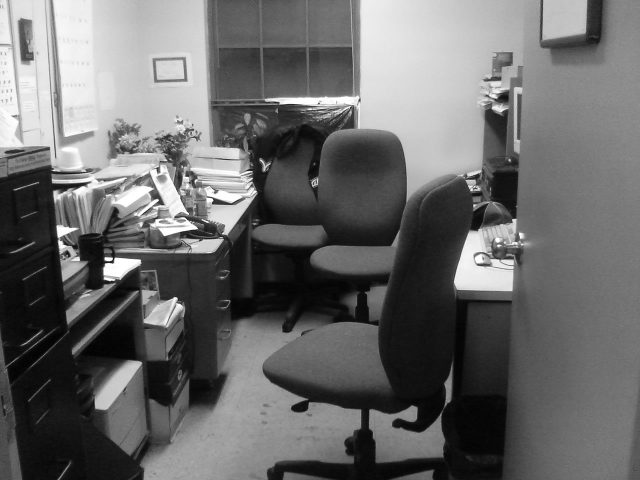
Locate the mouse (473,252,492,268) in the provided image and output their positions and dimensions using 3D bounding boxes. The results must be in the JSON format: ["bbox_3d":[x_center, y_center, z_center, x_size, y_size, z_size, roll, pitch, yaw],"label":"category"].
[{"bbox_3d":[0.556,0.061,1.767,0.042,0.053,0.056,-4,10,-30],"label":"mouse"}]

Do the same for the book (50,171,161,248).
[{"bbox_3d":[-1.031,-0.165,2.489,0.300,0.195,0.402,-5,13,8],"label":"book"}]

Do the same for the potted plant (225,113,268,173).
[{"bbox_3d":[-0.546,-0.768,3.964,0.428,0.441,0.415,-4,15,-10],"label":"potted plant"}]

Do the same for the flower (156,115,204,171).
[{"bbox_3d":[-1.038,-0.748,3.853,0.287,0.335,0.472,-3,16,-10],"label":"flower"}]

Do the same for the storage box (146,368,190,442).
[{"bbox_3d":[-0.681,0.741,2.439,0.170,0.240,0.306,2,11,4],"label":"storage box"}]

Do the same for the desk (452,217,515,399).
[{"bbox_3d":[0.563,0.260,1.794,0.179,0.315,0.571,1,18,11],"label":"desk"}]

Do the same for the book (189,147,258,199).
[{"bbox_3d":[-0.674,-0.497,3.745,0.314,0.155,0.420,4,17,0],"label":"book"}]

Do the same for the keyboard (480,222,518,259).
[{"bbox_3d":[0.787,-0.035,2.296,0.173,0.061,0.257,1,29,10],"label":"keyboard"}]

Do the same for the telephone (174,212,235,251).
[{"bbox_3d":[-0.624,-0.037,2.810,0.304,0.212,0.186,1,15,5],"label":"telephone"}]

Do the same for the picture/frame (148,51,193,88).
[{"bbox_3d":[-1.147,-1.310,3.996,0.327,0.274,0.016,-4,-5,-6],"label":"picture/frame"}]
